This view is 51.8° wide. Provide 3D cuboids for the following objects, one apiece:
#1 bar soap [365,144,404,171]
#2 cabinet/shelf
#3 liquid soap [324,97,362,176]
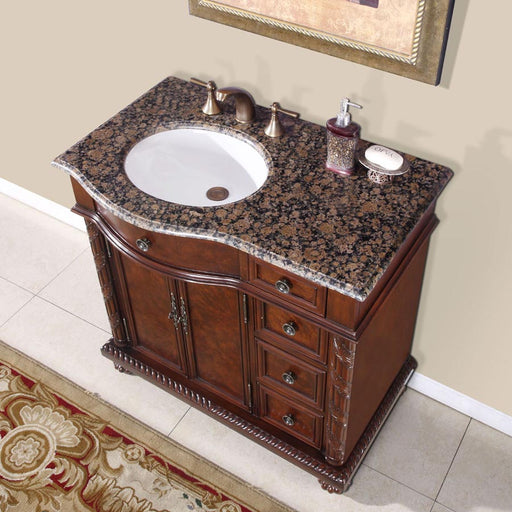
[{"bbox_3d":[0.332,-0.258,1.379,0.092,0.021,0.062,26,55,29],"label":"bar soap"},{"bbox_3d":[0.017,0.280,1.656,1.052,0.796,0.579,21,52,23],"label":"cabinet/shelf"},{"bbox_3d":[0.232,-0.328,1.425,0.086,0.222,0.136,3,42,4],"label":"liquid soap"}]
